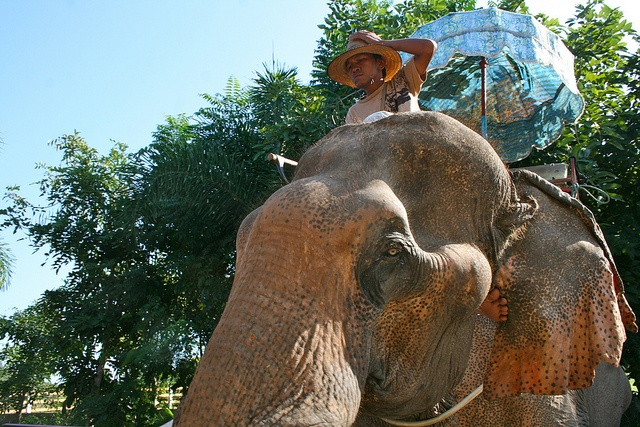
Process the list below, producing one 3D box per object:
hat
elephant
[{"bbox_3d":[0.288,-1.036,4.064,0.530,0.223,0.318,-16,-30,25],"label":"hat"},{"bbox_3d":[0.700,0.420,3.492,1.385,1.574,2.601,-17,-27,38],"label":"elephant"}]
